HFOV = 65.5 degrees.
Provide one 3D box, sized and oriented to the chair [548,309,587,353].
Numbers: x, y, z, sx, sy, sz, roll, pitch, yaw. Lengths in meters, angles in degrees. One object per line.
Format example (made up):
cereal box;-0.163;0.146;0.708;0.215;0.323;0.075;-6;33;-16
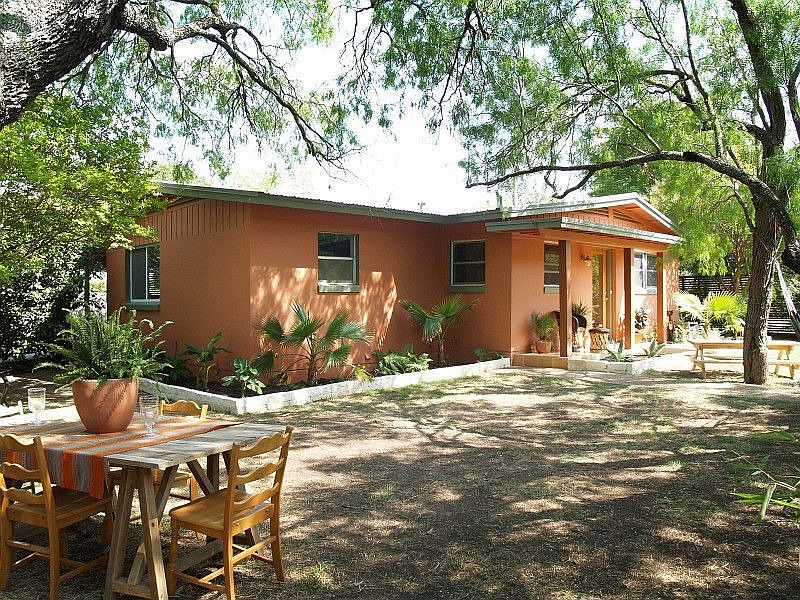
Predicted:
chair;4.126;0.792;15.589;1.011;1.213;1.023;-1;-3;19

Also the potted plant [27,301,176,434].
potted plant;-2.540;0.602;5.220;0.843;1.037;0.941;-1;-3;36

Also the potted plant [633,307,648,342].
potted plant;6.905;0.742;17.829;0.279;0.940;0.843;7;9;30

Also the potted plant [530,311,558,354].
potted plant;3.471;0.764;14.624;0.828;1.019;0.790;1;-2;-12
